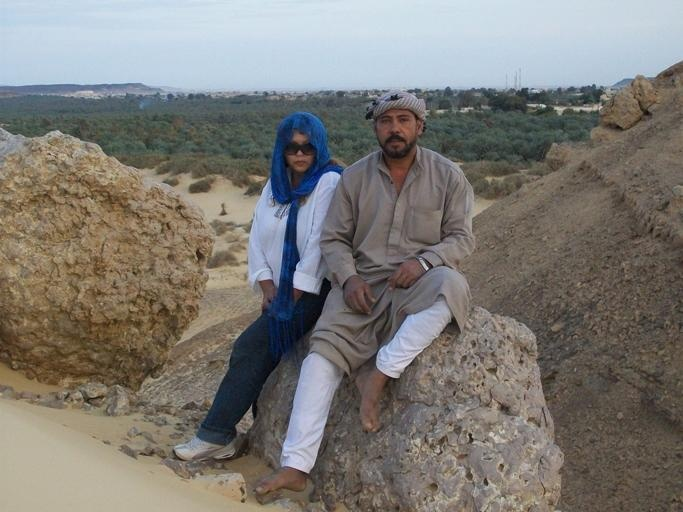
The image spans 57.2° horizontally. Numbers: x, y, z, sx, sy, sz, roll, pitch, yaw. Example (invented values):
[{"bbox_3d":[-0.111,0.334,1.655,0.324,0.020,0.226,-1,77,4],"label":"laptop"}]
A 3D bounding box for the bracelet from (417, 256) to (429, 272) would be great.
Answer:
[{"bbox_3d":[0.512,0.044,3.983,0.064,0.030,0.085,-6,57,-39],"label":"bracelet"}]

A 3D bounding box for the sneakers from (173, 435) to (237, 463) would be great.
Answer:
[{"bbox_3d":[-0.935,1.318,4.341,0.451,0.222,0.162,8,-5,-18],"label":"sneakers"}]
